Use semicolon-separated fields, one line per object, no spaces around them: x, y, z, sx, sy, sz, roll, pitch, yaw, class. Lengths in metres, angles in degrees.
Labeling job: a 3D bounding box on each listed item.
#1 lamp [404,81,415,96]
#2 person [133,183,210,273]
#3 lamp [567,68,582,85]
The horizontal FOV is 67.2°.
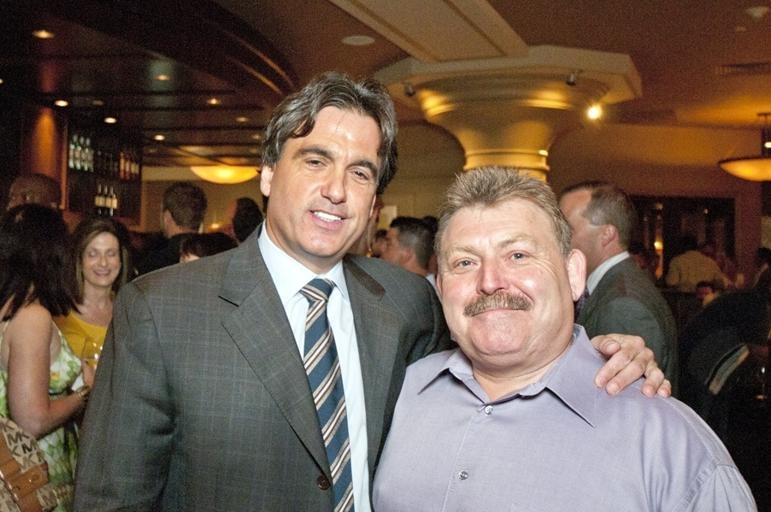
0.267;-1.973;6.871;0.104;0.119;0.155;5;2;-2;lamp
-1.686;-0.169;4.718;0.387;0.834;0.635;27;24;31;person
2.069;-1.960;6.368;0.109;0.150;0.200;5;10;10;lamp
